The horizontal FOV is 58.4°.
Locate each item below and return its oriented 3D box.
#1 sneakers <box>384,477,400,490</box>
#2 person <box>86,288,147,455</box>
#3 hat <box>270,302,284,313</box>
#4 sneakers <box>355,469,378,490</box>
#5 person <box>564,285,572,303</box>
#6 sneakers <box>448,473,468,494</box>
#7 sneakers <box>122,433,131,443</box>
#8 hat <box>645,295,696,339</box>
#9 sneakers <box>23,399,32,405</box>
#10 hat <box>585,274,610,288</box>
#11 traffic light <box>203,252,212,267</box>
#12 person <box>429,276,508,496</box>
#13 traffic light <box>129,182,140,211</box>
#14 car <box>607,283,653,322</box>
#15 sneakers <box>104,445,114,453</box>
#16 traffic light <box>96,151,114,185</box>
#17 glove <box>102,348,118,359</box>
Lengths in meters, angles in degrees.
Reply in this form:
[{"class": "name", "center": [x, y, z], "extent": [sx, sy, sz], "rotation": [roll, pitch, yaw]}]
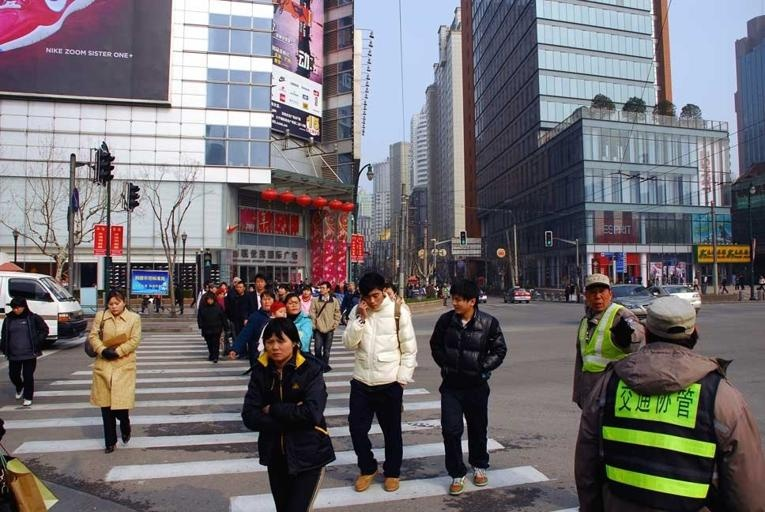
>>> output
[{"class": "sneakers", "center": [0.169, 3.857, 11.641], "extent": [0.263, 0.209, 0.227], "rotation": [0, -2, -2]}, {"class": "person", "center": [-5.119, 2.170, 13.034], "extent": [0.924, 2.977, 0.742], "rotation": [0, -2, -24]}, {"class": "hat", "center": [-1.868, 0.913, 12.218], "extent": [0.216, 0.172, 0.232], "rotation": [-3, 2, 43]}, {"class": "sneakers", "center": [-0.276, 3.826, 11.705], "extent": [0.454, 0.271, 0.241], "rotation": [1, -2, -35]}, {"class": "person", "center": [14.753, 2.984, 54.236], "extent": [0.431, 1.256, 1.994], "rotation": [-1, -2, 15]}, {"class": "sneakers", "center": [1.315, 3.832, 11.563], "extent": [0.207, 0.300, 0.459], "rotation": [-2, -3, 42]}, {"class": "sneakers", "center": [-4.910, 3.470, 13.149], "extent": [0.145, 0.169, 0.189], "rotation": [3, 4, 9]}, {"class": "hat", "center": [3.900, 0.721, 9.030], "extent": [0.463, 0.259, 0.669], "rotation": [9, 18, 9]}, {"class": "sneakers", "center": [-7.836, 3.225, 15.103], "extent": [0.163, 0.148, 0.199], "rotation": [1, -2, -29]}, {"class": "hat", "center": [3.593, 0.427, 11.381], "extent": [0.366, 0.200, 0.542], "rotation": [-1, -9, 10]}, {"class": "traffic light", "center": [-9.515, 0.215, 37.151], "extent": [0.272, 0.614, 0.518], "rotation": [0, -2, -24]}, {"class": "person", "center": [1.447, 2.192, 11.701], "extent": [1.166, 3.571, 0.605], "rotation": [-1, -2, 4]}, {"class": "traffic light", "center": [-10.505, -2.547, 28.803], "extent": [0.458, 1.152, 2.246], "rotation": [0, -2, -23]}, {"class": "car", "center": [6.899, 1.262, 18.928], "extent": [1.197, 0.950, 2.717], "rotation": [-2, -8, 17]}, {"class": "sneakers", "center": [-5.083, 3.588, 12.741], "extent": [0.076, 0.076, 0.175], "rotation": [1, 7, 5]}, {"class": "traffic light", "center": [-10.532, -3.330, 25.949], "extent": [0.572, 1.344, 2.080], "rotation": [0, -2, -23]}, {"class": "glove", "center": [-5.094, 1.842, 12.845], "extent": [0.303, 0.228, 0.110], "rotation": [-1, -2, 5]}]
